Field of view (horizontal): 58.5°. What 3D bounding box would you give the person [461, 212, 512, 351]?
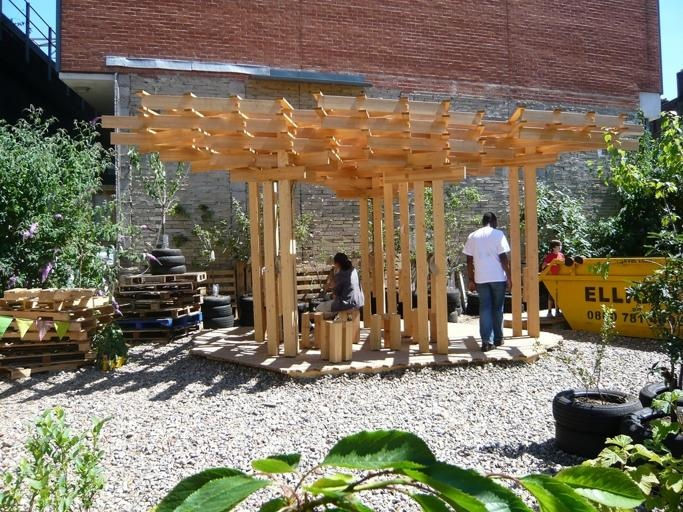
[{"bbox_3d":[2.316,0.376,9.615,0.708,2.173,0.671,-2,-3,13],"label":"person"}]
